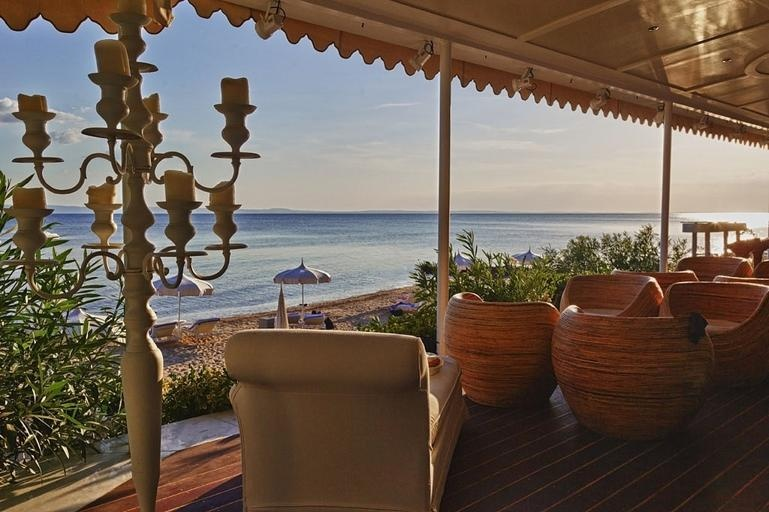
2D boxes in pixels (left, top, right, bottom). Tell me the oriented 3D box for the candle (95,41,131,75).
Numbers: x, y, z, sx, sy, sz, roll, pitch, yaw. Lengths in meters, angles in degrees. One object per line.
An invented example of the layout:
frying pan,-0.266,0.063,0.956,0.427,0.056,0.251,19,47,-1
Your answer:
candle,-1.361,-0.996,2.931,0.164,0.168,0.166,2,7,-1

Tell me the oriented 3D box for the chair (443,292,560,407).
chair,0.996,0.795,4.865,0.900,0.755,0.877,-10,8,-28

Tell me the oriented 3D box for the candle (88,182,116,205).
candle,-1.674,-0.387,3.466,0.159,0.146,0.126,9,7,-4

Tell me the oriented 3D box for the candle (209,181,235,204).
candle,-0.869,-0.338,3.095,0.124,0.128,0.129,2,5,-1

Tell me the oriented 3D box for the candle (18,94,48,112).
candle,-1.878,-0.815,3.043,0.130,0.090,0.127,-2,1,-18

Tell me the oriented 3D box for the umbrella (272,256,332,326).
umbrella,-2.815,1.176,19.446,2.164,2.787,2.246,0,-2,16

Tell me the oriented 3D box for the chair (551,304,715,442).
chair,1.846,0.824,4.423,1.013,0.737,0.966,-3,2,-7

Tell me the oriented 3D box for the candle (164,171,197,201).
candle,-1.057,-0.382,3.011,0.159,0.179,0.157,-5,13,-16

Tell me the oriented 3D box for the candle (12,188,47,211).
candle,-1.886,-0.308,3.045,0.126,0.118,0.132,-8,-4,34
